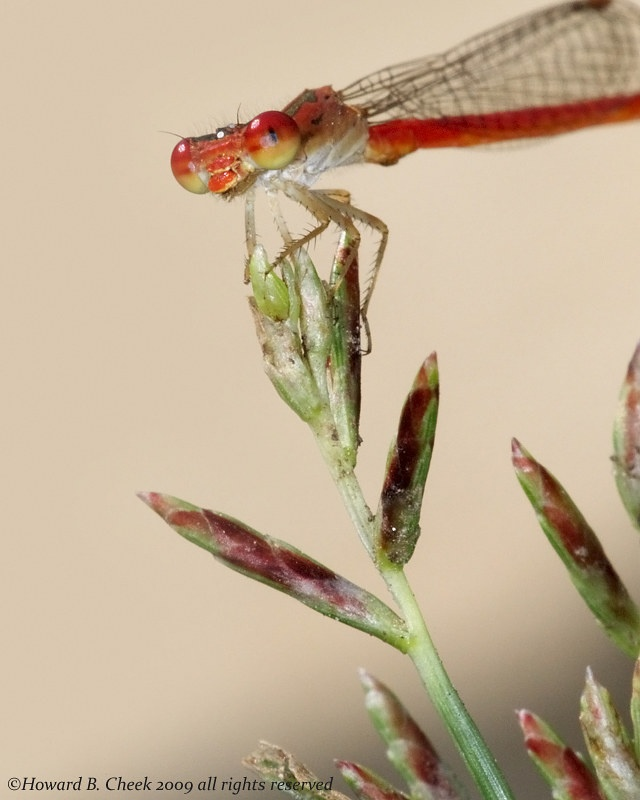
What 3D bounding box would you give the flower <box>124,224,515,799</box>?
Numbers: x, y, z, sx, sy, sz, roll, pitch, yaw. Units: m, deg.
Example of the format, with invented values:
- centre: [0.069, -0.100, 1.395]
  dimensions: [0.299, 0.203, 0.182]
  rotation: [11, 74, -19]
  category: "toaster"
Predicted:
- centre: [0.034, 0.132, 1.476]
  dimensions: [0.417, 0.916, 0.160]
  rotation: [-17, -36, 3]
  category: "flower"
